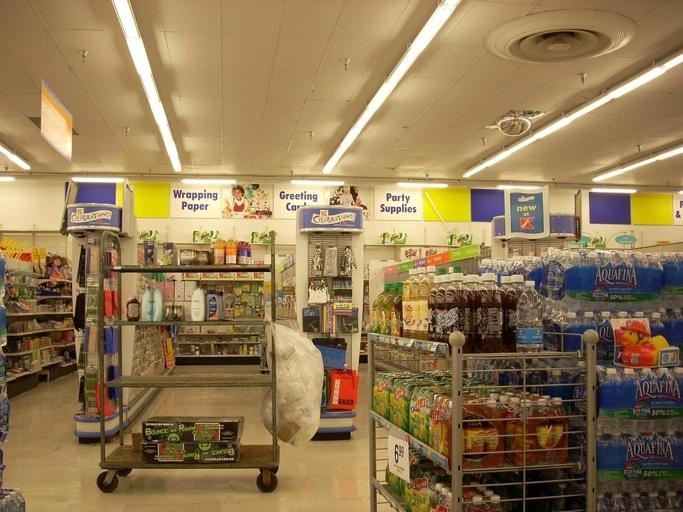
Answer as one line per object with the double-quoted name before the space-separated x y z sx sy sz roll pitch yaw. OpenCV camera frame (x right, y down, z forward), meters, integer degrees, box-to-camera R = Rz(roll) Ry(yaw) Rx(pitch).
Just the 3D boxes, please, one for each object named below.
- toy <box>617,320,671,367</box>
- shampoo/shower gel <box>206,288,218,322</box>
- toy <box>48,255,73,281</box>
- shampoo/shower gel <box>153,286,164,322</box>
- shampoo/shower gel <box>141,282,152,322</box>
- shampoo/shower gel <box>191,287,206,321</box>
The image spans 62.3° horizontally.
"toy" 1.908 0.563 3.583 0.334 0.288 0.230 1 3 -9
"shampoo/shower gel" -1.326 0.513 5.760 0.114 0.263 0.186 1 -2 -14
"toy" -6.363 0.283 12.699 0.495 0.622 0.258 -2 -8 -37
"shampoo/shower gel" -1.872 0.494 5.778 0.101 0.318 0.244 1 -2 -18
"shampoo/shower gel" -1.968 0.482 5.732 0.100 0.336 0.236 1 -2 -20
"shampoo/shower gel" -1.442 0.486 5.683 0.139 0.336 0.238 1 -2 -13
